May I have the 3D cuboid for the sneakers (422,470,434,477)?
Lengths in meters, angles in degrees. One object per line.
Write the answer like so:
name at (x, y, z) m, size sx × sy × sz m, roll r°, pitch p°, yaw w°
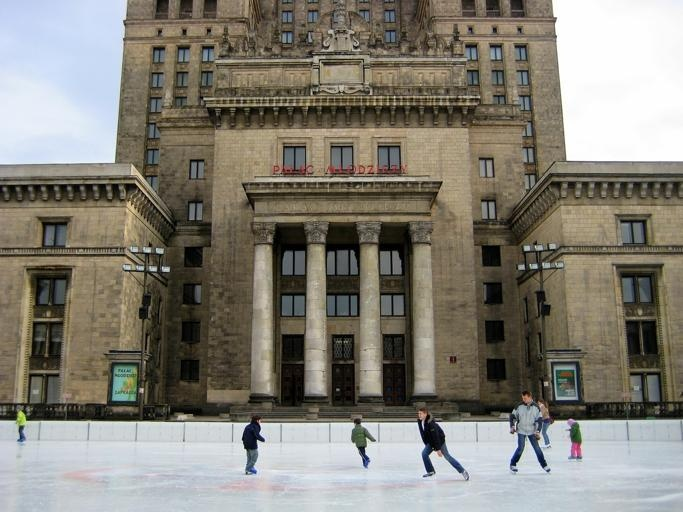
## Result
sneakers at (3.769, 9.416, 35.149) m, size 0.573 × 0.239 × 0.207 m, roll 3°, pitch -9°, yaw -11°
